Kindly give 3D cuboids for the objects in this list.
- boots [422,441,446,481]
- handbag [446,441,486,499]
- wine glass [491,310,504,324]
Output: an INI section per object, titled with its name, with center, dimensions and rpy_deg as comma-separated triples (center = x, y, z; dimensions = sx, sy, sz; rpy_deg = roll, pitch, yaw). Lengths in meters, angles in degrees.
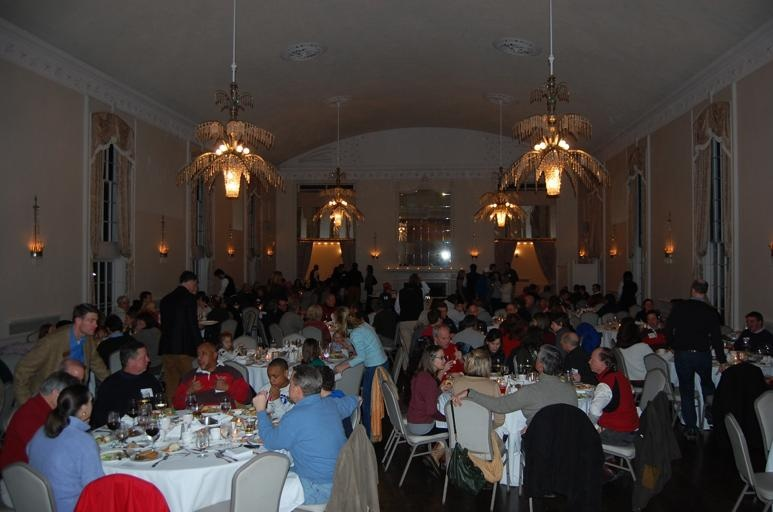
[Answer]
[boots]
center = 0.732, 3.052, 9.006
dimensions = 0.201, 0.646, 0.246
rpy_deg = 4, 29, 46
[handbag]
center = 1.061, 2.819, 7.910
dimensions = 0.717, 0.801, 0.379
rpy_deg = -3, -18, 21
[wine glass]
center = 2.673, 1.478, 14.436
dimensions = 0.315, 0.259, 0.792
rpy_deg = -6, -16, 15
